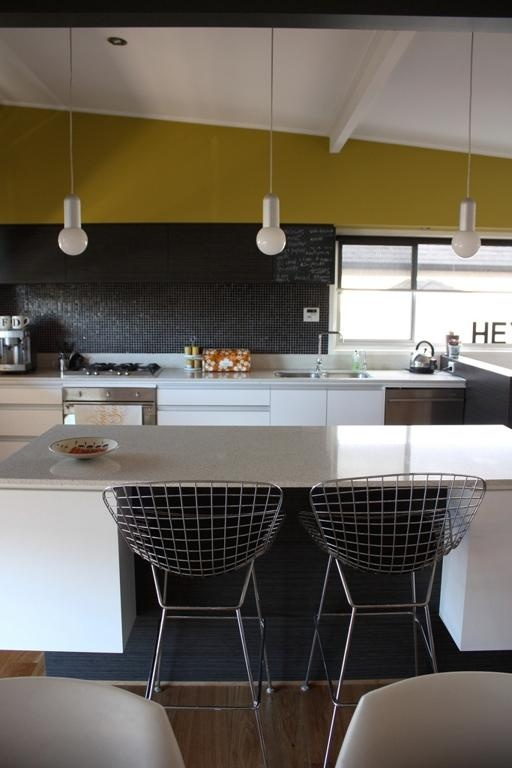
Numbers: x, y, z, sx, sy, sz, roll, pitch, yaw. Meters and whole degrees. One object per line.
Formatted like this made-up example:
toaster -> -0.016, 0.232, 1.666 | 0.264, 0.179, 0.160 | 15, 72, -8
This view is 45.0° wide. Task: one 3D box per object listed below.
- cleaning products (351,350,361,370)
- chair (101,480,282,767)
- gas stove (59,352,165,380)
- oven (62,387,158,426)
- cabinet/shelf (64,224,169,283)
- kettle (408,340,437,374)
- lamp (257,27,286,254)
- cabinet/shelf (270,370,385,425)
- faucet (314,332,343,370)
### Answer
cleaning products -> 0.761, -0.178, 4.723 | 0.075, 0.152, 0.089 | 3, 11, 16
chair -> -0.187, 0.675, 1.894 | 0.497, 0.928, 0.520 | -1, 11, -4
gas stove -> -1.045, -0.160, 4.479 | 0.692, 0.145, 0.639 | -1, 11, -6
oven -> -0.980, 0.149, 4.162 | 0.441, 0.309, 0.299 | 0, 7, -1
cabinet/shelf -> -0.846, -0.950, 4.440 | 0.650, 0.413, 0.348 | 1, 10, 10
kettle -> 1.248, -0.208, 4.714 | 0.244, 0.288, 0.250 | -1, 6, -20
lamp -> 0.061, -0.989, 2.541 | 0.119, 0.877, 0.118 | 10, 17, 37
cabinet/shelf -> 0.486, 0.118, 4.206 | 0.781, 0.312, 0.135 | -2, 11, -11
faucet -> 0.525, -0.255, 4.747 | 0.132, 0.304, 0.334 | 5, 12, 23
